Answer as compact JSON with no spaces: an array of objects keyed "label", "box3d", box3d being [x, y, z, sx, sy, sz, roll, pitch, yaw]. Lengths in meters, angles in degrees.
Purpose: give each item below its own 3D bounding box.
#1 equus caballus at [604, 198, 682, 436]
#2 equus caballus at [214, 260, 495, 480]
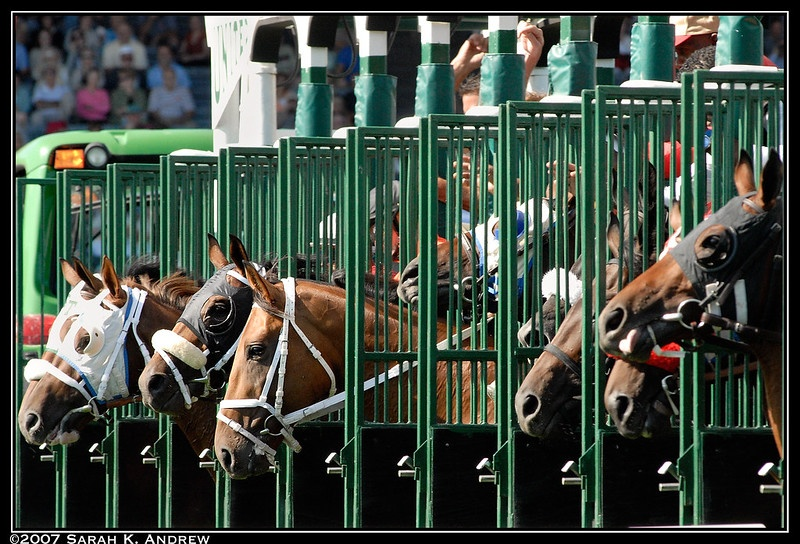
[{"label":"equus caballus","box3d":[1.655,0.363,13.579,0.334,1.510,0.789,10,5,31]},{"label":"equus caballus","box3d":[-0.432,0.685,14.908,1.952,1.481,0.760,-5,0,-9]}]
